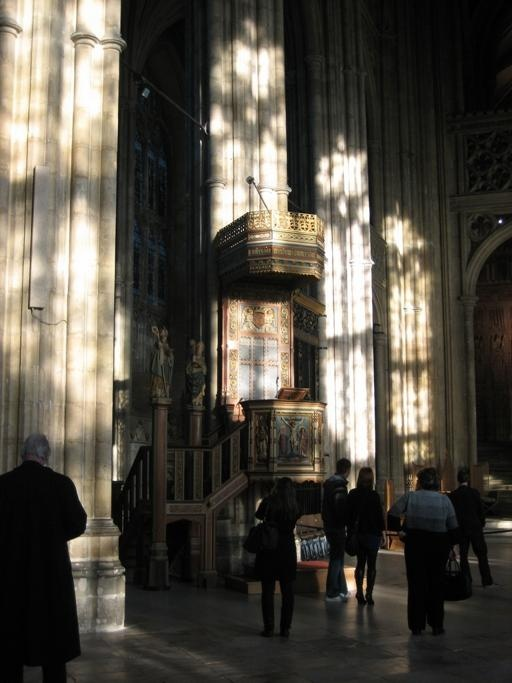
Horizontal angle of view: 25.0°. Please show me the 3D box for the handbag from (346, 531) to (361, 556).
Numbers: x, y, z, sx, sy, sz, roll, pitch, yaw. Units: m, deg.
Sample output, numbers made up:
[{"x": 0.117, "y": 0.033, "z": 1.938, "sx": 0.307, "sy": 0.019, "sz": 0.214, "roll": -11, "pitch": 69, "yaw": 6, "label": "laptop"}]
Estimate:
[{"x": 0.988, "y": 2.073, "z": 11.769, "sx": 0.153, "sy": 0.335, "sz": 0.225, "roll": -1, "pitch": -1, "yaw": 6, "label": "handbag"}]

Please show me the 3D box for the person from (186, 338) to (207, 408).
[{"x": -0.843, "y": 0.450, "z": 16.016, "sx": 0.276, "sy": 0.941, "sz": 0.415, "roll": -1, "pitch": -8, "yaw": -4, "label": "person"}]

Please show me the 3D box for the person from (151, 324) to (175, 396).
[{"x": -1.121, "y": 0.237, "z": 13.663, "sx": 0.250, "sy": 0.948, "sz": 0.811, "roll": -1, "pitch": -9, "yaw": -6, "label": "person"}]

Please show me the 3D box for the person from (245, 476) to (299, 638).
[{"x": 0.155, "y": 1.864, "z": 10.000, "sx": 0.457, "sy": 1.351, "sz": 0.376, "roll": -9, "pitch": -11, "yaw": 39, "label": "person"}]

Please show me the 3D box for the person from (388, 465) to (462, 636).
[{"x": 1.430, "y": 1.787, "z": 9.871, "sx": 0.569, "sy": 1.425, "sz": 0.558, "roll": -3, "pitch": -8, "yaw": 7, "label": "person"}]

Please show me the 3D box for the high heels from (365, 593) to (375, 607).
[{"x": 1.156, "y": 2.634, "z": 11.745, "sx": 0.091, "sy": 0.112, "sz": 0.059, "roll": -1, "pitch": -3, "yaw": 17, "label": "high heels"}]

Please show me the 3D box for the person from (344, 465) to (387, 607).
[{"x": 1.098, "y": 1.982, "z": 11.782, "sx": 0.376, "sy": 1.394, "sz": 0.657, "roll": -2, "pitch": -8, "yaw": 4, "label": "person"}]
